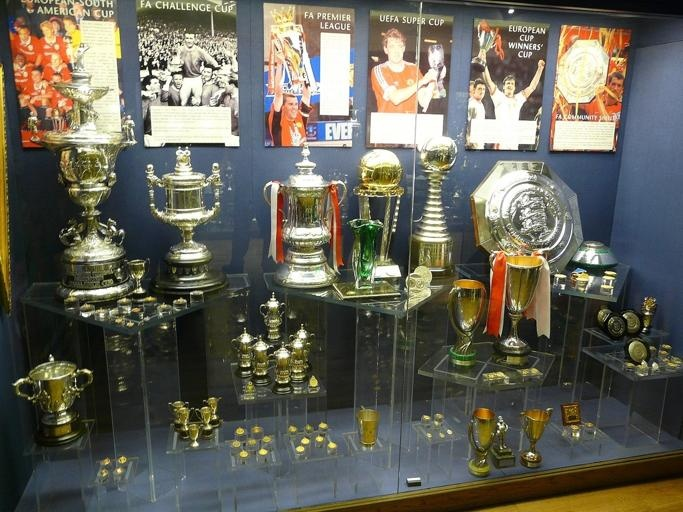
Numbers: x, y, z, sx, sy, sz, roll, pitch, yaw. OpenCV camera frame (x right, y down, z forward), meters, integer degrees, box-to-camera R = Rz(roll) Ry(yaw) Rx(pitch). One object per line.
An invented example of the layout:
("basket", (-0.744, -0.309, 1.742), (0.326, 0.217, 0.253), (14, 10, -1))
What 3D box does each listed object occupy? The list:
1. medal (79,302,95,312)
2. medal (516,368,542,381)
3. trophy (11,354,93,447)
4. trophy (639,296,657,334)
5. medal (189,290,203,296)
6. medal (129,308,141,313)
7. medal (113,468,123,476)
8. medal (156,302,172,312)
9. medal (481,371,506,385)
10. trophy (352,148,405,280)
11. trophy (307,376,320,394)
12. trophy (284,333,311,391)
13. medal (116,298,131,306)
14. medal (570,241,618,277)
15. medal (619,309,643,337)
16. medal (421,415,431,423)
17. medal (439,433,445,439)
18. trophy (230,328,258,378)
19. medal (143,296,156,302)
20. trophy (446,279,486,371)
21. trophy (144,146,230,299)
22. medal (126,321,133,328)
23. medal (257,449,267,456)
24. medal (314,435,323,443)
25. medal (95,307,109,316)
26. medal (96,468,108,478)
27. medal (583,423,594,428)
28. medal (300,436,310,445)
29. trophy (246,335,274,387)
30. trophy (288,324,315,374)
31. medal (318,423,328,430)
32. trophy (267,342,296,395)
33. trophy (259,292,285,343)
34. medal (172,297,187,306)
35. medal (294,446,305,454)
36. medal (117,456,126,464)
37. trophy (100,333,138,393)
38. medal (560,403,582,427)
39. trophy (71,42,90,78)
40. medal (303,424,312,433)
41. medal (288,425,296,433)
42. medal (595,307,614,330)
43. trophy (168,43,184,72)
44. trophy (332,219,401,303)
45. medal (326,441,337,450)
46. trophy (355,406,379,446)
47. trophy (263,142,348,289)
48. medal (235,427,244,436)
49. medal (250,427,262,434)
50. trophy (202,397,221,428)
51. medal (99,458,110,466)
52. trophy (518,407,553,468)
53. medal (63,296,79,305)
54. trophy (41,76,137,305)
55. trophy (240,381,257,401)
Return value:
("medal", (-1.090, 0.221, 2.366), (0.062, 0.032, 0.034), (-2, 15, -6))
("medal", (0.911, 0.572, 2.676), (0.078, 0.025, 0.063), (-5, 14, -21))
("trophy", (-1.290, 0.640, 2.438), (0.368, 0.423, 0.252), (0, 11, -7))
("trophy", (0.798, -0.682, 2.549), (0.058, 0.016, 0.097), (-20, 41, 33))
("medal", (-0.657, 0.169, 2.505), (0.057, 0.025, 0.022), (-6, 15, -18))
("medal", (-0.903, 0.234, 2.419), (0.024, 0.010, 0.025), (3, 14, -13))
("medal", (-1.001, 0.969, 2.477), (0.027, 0.034, 0.034), (14, 17, 24))
("medal", (-0.785, 0.229, 2.452), (0.060, 0.025, 0.059), (-6, 15, -18))
("medal", (0.734, 0.572, 2.625), (0.081, 0.030, 0.063), (-4, 9, -28))
("trophy", (0.202, -0.218, 2.693), (0.256, 0.588, 0.234), (-11, 17, -36))
("trophy", (-0.134, 0.617, 2.642), (0.075, 0.090, 0.052), (0, -13, -10))
("trophy", (-0.220, 0.495, 2.687), (0.113, 0.214, 0.113), (-5, -4, 33))
("medal", (-0.950, 0.202, 2.417), (0.035, 0.027, 0.035), (-2, 10, -34))
("medal", (1.285, -0.009, 2.825), (0.184, 0.186, 0.200), (9, 15, 22))
("medal", (1.515, 0.349, 2.869), (0.124, 0.128, 0.030), (-30, 13, -17))
("medal", (0.397, 0.769, 2.606), (0.037, 0.038, 0.039), (1, 2, 23))
("medal", (0.480, 0.856, 2.633), (0.028, 0.031, 0.006), (-4, 15, -11))
("trophy", (-0.467, 0.454, 2.661), (0.123, 0.207, 0.094), (-2, 4, -26))
("medal", (-0.856, 0.194, 2.475), (0.053, 0.020, 0.024), (-5, 15, -15))
("trophy", (0.581, 0.312, 2.579), (0.191, 0.420, 0.055), (-7, 16, -22))
("trophy", (-0.724, -0.154, 2.606), (0.322, 0.682, 0.334), (-4, 17, -28))
("medal", (-0.891, 0.288, 2.331), (0.020, 0.011, 0.024), (2, 9, -8))
("medal", (-0.366, 0.913, 2.568), (0.043, 0.026, 0.021), (-1, 15, -3))
("medal", (-0.104, 0.874, 2.622), (0.030, 0.013, 0.031), (18, 55, 7))
("medal", (-1.020, 0.243, 2.358), (0.059, 0.026, 0.049), (-8, 16, -26))
("medal", (-1.060, 0.970, 2.459), (0.043, 0.029, 0.034), (0, 15, 3))
("medal", (1.275, 0.871, 2.844), (0.031, 0.009, 0.031), (-4, 1, -29))
("medal", (-0.171, 0.876, 2.612), (0.031, 0.017, 0.032), (-5, 16, -15))
("trophy", (-0.391, 0.497, 2.643), (0.146, 0.206, 0.112), (1, 0, -27))
("trophy", (-0.205, 0.480, 2.684), (0.108, 0.188, 0.106), (-2, -3, 5))
("medal", (-0.089, 0.823, 2.666), (0.054, 0.035, 0.031), (-6, 16, -20))
("trophy", (-0.277, 0.536, 2.622), (0.115, 0.202, 0.112), (0, 4, -29))
("trophy", (-0.338, 0.303, 2.706), (0.125, 0.249, 0.062), (-2, 15, -4))
("medal", (-0.723, 0.207, 2.476), (0.058, 0.026, 0.043), (-5, 15, -16))
("medal", (-0.198, 0.907, 2.599), (0.033, 0.033, 0.034), (3, 3, 38))
("medal", (-0.992, 0.927, 2.502), (0.046, 0.025, 0.027), (1, 15, 7))
("trophy", (-0.970, 0.475, 2.448), (0.153, 0.279, 0.043), (2, 15, 12))
("medal", (1.157, 0.803, 2.793), (0.112, 0.132, 0.017), (-3, 1, -16))
("trophy", (-1.091, -0.824, 2.306), (0.077, 0.138, 0.076), (5, 6, -4))
("medal", (-0.164, 0.823, 2.632), (0.034, 0.018, 0.049), (2, 11, -2))
("medal", (-0.235, 0.818, 2.635), (0.032, 0.032, 0.033), (12, 20, 32))
("medal", (1.347, 0.316, 2.828), (0.089, 0.109, 0.029), (-7, 16, -22))
("trophy", (-0.725, -0.868, 2.411), (0.069, 0.104, 0.037), (1, 6, -8))
("trophy", (0.107, 0.002, 2.628), (0.275, 0.345, 0.293), (-2, 11, -12))
("medal", (-0.047, 0.903, 2.617), (0.034, 0.027, 0.035), (9, 14, 29))
("trophy", (0.125, 0.810, 2.636), (0.129, 0.156, 0.143), (1, 1, 9))
("trophy", (-0.167, -0.203, 2.659), (0.381, 0.663, 0.315), (-2, 17, -10))
("medal", (-0.475, 0.825, 2.583), (0.034, 0.021, 0.033), (-12, 18, -42))
("medal", (-0.395, 0.817, 2.582), (0.034, 0.022, 0.035), (9, 12, 38))
("trophy", (-0.612, 0.734, 2.596), (0.118, 0.123, 0.102), (6, -1, -30))
("medal", (-1.060, 0.931, 2.488), (0.026, 0.016, 0.026), (-4, 10, -32))
("trophy", (0.937, 0.884, 2.748), (0.133, 0.301, 0.148), (2, 16, 1))
("medal", (-1.158, 0.194, 2.372), (0.041, 0.041, 0.041), (-1, 4, -23))
("trophy", (-1.060, -0.258, 2.476), (0.365, 0.994, 0.363), (14, 15, 30))
("trophy", (-0.434, 0.631, 2.577), (0.066, 0.062, 0.071), (-3, 15, -10))
